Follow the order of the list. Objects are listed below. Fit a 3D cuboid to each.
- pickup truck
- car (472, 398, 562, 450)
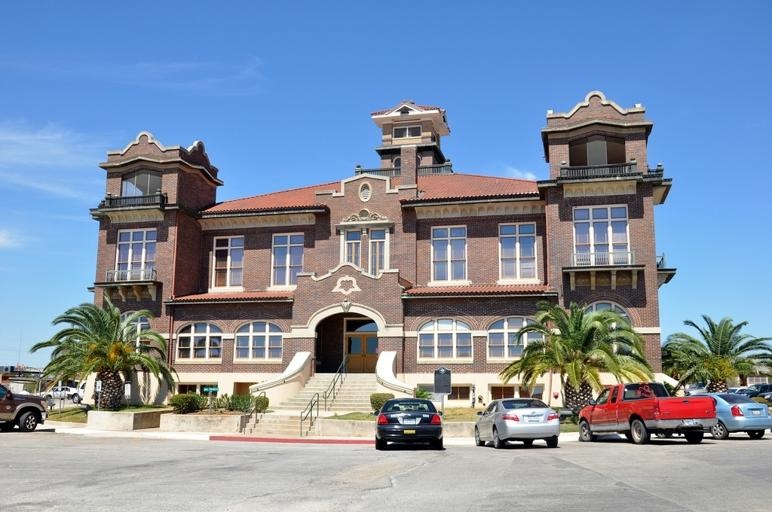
[{"bbox_3d":[9.955,6.153,29.466,1.773,2.274,4.787,7,-14,-31],"label":"pickup truck"},{"bbox_3d":[4.632,6.495,29.145,2.189,1.792,4.064,9,-15,-36],"label":"car"}]
